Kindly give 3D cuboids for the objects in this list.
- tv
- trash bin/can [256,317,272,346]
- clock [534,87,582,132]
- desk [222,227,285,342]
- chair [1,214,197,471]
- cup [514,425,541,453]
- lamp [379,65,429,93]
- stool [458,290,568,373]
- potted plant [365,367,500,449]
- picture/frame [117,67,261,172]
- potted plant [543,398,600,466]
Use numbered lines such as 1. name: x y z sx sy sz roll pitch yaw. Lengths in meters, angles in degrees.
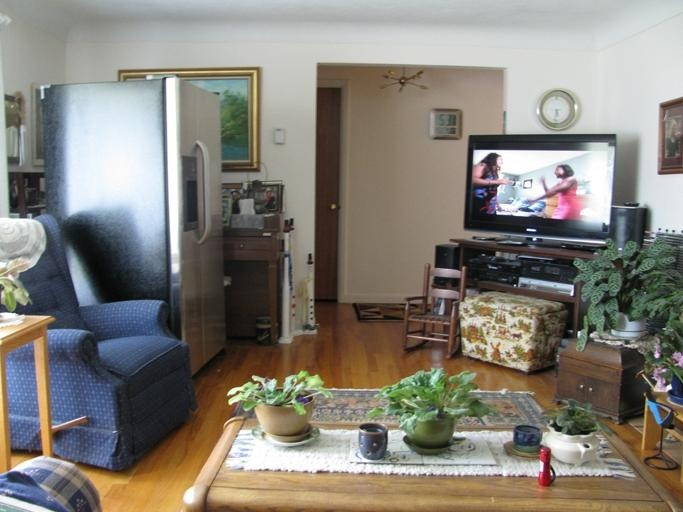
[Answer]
1. tv: 1.728 -0.549 4.476 1.172 0.752 0.114 7 9 28
2. trash bin/can: -0.685 0.664 4.657 0.203 0.199 0.220 0 2 -3
3. clock: 1.988 -1.332 4.826 0.394 0.377 0.071 0 12 -6
4. desk: -0.790 0.255 4.721 0.514 1.046 0.449 -1 12 -10
5. chair: -1.372 0.384 3.326 1.398 1.398 1.165 4 11 7
6. cup: 0.681 0.673 1.935 0.095 0.059 0.087 -1 3 0
7. lamp: 0.697 -2.029 6.001 0.519 0.275 0.610 4 11 14
8. stool: 1.419 0.481 4.309 0.961 0.612 0.589 6 11 40
9. potted plant: 0.324 0.522 1.964 0.365 0.155 0.347 -1 2 14
10. picture/frame: -1.150 -1.060 3.924 1.381 0.962 0.059 0 4 -6
11. potted plant: 0.864 0.680 1.937 0.179 0.132 0.195 -2 9 15
